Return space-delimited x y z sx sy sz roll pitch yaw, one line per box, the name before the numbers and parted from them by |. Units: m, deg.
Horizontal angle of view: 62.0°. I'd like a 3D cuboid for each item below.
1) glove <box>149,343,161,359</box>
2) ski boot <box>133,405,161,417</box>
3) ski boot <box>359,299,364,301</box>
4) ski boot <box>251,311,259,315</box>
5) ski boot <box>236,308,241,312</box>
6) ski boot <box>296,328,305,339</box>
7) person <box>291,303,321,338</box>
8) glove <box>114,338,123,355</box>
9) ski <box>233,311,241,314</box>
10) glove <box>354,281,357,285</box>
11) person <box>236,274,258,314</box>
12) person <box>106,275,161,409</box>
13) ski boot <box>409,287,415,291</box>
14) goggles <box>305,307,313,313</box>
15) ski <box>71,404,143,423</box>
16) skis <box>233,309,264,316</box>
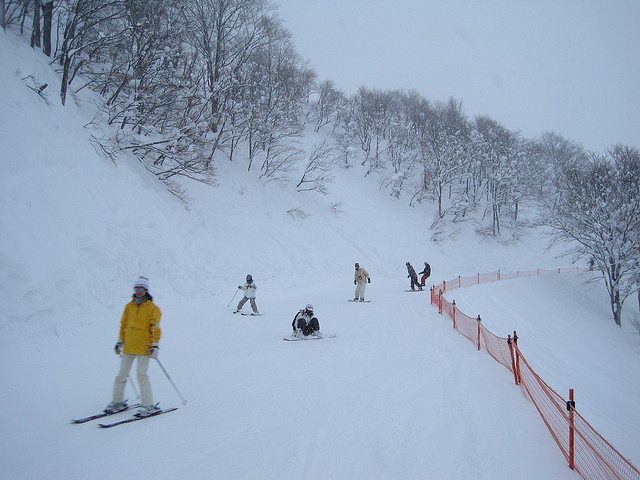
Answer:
glove | -4.048 2.722 13.213 0.254 0.375 0.346 6 17 -16
ski boot | -4.256 4.157 13.059 0.588 0.295 0.199 1 -1 -28
ski boot | 1.956 2.768 24.616 0.209 0.123 0.187 2 14 -3
ski boot | -2.550 2.886 21.148 0.342 0.139 0.183 -5 16 -29
ski boot | -3.248 2.766 21.174 0.132 0.111 0.078 1 -28 -3
ski boot | -0.653 3.208 18.225 0.284 0.276 0.207 -2 14 -20
person | -0.442 2.845 18.524 0.974 1.076 0.795 2 13 -5
glove | -4.968 2.623 13.160 0.211 0.348 0.142 3 -7 -16
ski | -3.270 2.859 21.177 0.116 0.051 0.306 15 18 38
glove | 1.840 2.183 27.234 0.040 0.202 0.132 0 6 -6
person | -2.833 2.040 21.305 0.772 1.598 1.077 2 13 0
person | -4.477 2.578 13.192 1.024 3.103 0.915 3 12 4
ski boot | 4.966 2.613 28.528 0.196 0.133 0.308 -4 -7 7
goggles | -0.369 2.452 18.596 0.201 0.164 0.133 3 13 2
ski | -5.194 4.286 13.088 1.456 0.178 0.207 -7 17 -40
skis | -2.870 2.904 21.272 1.294 0.183 0.121 4 -25 -1
